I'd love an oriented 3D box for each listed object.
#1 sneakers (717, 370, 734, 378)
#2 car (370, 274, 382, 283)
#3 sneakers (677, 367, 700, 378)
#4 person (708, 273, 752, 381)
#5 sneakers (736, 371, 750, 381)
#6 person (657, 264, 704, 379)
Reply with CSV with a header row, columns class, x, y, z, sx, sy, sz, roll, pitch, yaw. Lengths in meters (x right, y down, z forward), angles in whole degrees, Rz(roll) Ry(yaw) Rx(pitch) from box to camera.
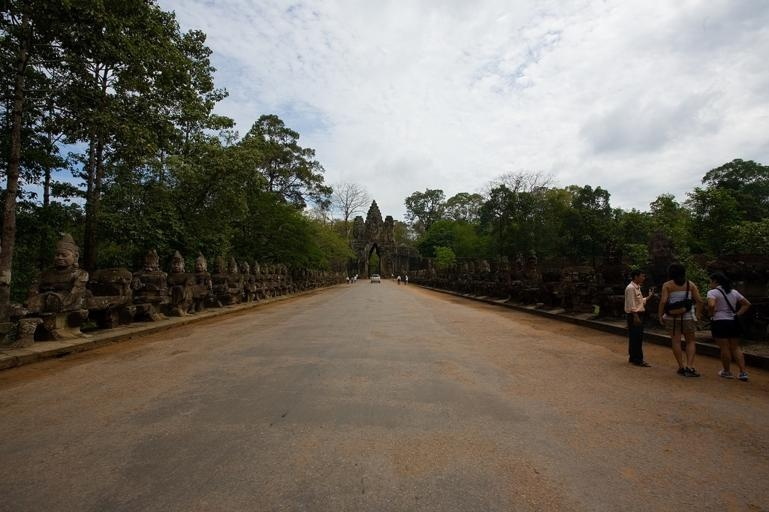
class,x,y,z,sx,sy,sz,roll,pitch,yaw
sneakers,6.698,2.336,9.097,0.127,0.126,0.300,-5,-1,7
car,-1.620,4.295,86.672,1.429,1.070,3.256,-1,-8,-4
sneakers,5.983,2.316,9.104,0.358,0.140,0.172,-2,1,8
person,6.869,1.384,9.210,0.716,2.065,0.998,4,7,38
sneakers,6.906,2.332,8.891,0.108,0.131,0.291,-1,-1,12
person,5.909,1.265,9.241,0.705,2.208,0.478,3,6,30
